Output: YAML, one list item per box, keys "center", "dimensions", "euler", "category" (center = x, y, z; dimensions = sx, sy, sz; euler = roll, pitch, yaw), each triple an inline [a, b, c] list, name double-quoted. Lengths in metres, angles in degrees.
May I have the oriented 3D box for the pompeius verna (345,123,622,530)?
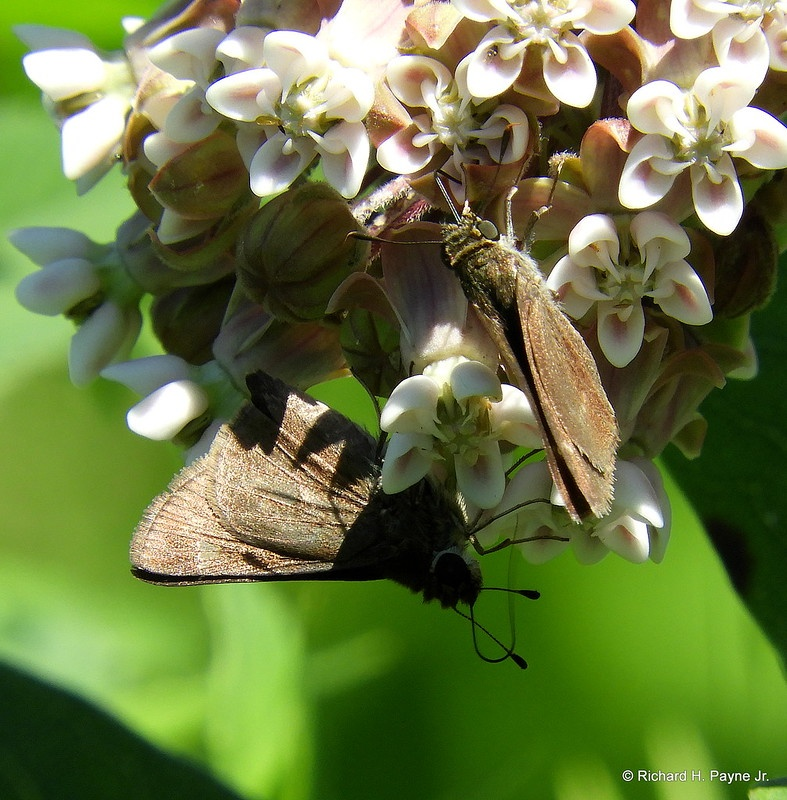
- center: [0.066, -0.051, 0.646]
  dimensions: [0.120, 0.114, 0.243]
  euler: [-18, 69, -25]
  category: "pompeius verna"

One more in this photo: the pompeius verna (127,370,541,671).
- center: [-0.059, 0.072, 0.803]
  dimensions: [0.253, 0.229, 0.084]
  euler: [20, 86, 10]
  category: "pompeius verna"
